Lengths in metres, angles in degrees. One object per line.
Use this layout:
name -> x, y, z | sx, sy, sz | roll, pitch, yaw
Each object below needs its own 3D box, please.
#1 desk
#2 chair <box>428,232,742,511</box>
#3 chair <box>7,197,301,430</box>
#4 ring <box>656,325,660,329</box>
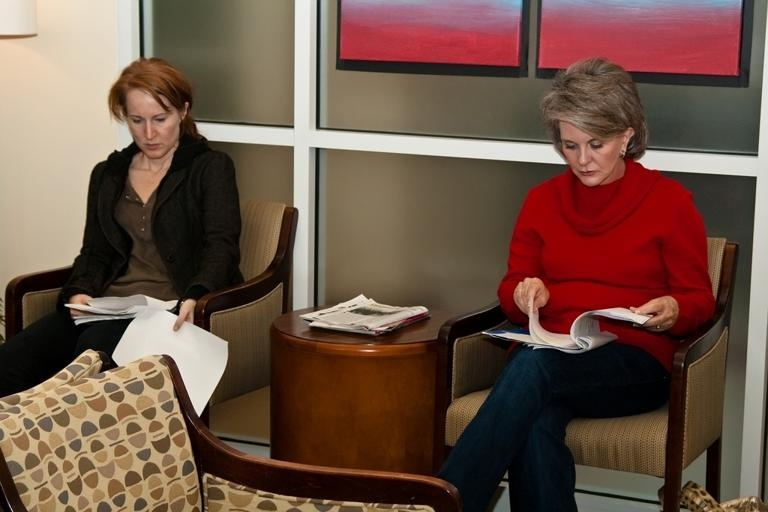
desk -> -0.130, 0.482, 2.680 | 0.669, 0.663, 0.598 | 4, 30, -6
chair -> 0.741, 0.365, 2.500 | 0.871, 1.250, 1.009 | 2, 1, 32
chair -> -1.112, 0.172, 3.060 | 0.973, 1.403, 1.135 | 3, 4, 26
ring -> 0.926, 0.238, 2.073 | 0.016, 0.006, 0.023 | 0, 3, 35
